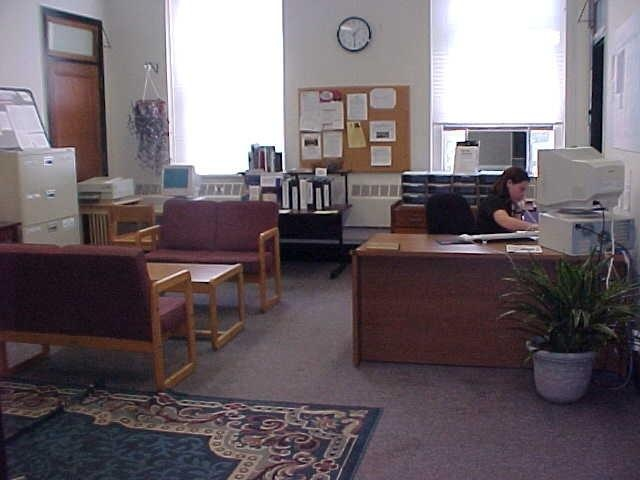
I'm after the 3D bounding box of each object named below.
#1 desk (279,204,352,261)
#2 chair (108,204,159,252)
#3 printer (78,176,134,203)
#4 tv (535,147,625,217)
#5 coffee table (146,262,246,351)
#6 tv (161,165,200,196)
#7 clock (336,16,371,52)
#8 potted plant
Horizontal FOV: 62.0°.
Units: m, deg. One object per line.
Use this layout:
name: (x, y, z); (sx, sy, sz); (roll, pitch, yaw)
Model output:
desk: (-0.099, -0.140, 7.194); (1.027, 0.787, 0.706); (0, 7, 5)
chair: (-2.125, -0.143, 6.078); (0.496, 0.771, 0.532); (1, 11, 1)
printer: (-2.931, -0.694, 7.290); (0.533, 0.293, 0.557); (0, 13, 6)
tv: (1.870, -0.442, 3.956); (0.532, 0.531, 0.491); (-4, 9, -25)
coffee table: (-1.060, 0.457, 4.930); (0.909, 0.541, 0.717); (1, 7, 14)
tv: (-1.959, -0.831, 7.448); (0.423, 0.407, 0.435); (1, 7, 0)
clock: (0.439, -2.770, 7.150); (0.439, 0.461, 0.107); (2, 6, 16)
potted plant: (1.665, 0.498, 3.907); (1.028, 1.069, 1.037); (-1, 6, -6)
